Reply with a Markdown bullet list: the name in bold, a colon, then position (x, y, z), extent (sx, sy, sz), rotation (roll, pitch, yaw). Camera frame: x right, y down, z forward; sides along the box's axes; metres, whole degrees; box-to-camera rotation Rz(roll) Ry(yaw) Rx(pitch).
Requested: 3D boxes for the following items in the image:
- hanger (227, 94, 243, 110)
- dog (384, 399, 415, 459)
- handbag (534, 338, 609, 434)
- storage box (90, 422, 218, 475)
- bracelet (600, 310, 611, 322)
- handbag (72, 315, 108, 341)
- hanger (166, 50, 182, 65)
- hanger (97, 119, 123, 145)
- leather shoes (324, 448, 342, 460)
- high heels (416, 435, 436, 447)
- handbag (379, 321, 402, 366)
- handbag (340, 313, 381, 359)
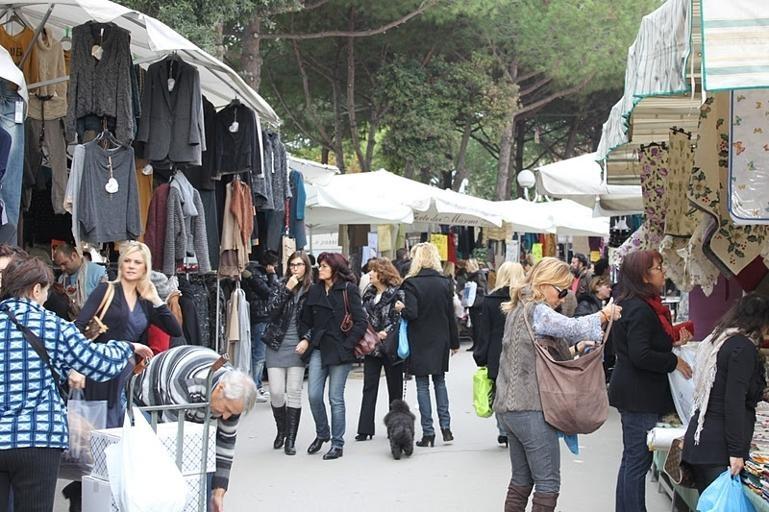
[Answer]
- **hanger**: position (-1.730, -1.783, 9.805), extent (0.195, 0.240, 0.030), rotation (7, 12, 21)
- **dog**: position (0.173, 2.087, 10.210), extent (0.346, 0.692, 0.350), rotation (0, 3, -5)
- **handbag**: position (1.573, 1.131, 7.255), extent (0.703, 1.000, 0.496), rotation (-1, -14, -4)
- **storage box**: position (-1.676, 1.433, 6.408), extent (0.486, 0.326, 0.663), rotation (3, -6, -45)
- **bracelet**: position (1.903, 0.522, 7.321), extent (0.026, 0.094, 0.081), rotation (-1, -12, 35)
- **handbag**: position (-2.717, 0.679, 7.865), extent (0.232, 0.237, 0.064), rotation (-41, -3, -6)
- **hanger**: position (-2.234, -2.094, 8.936), extent (0.100, 0.106, 0.108), rotation (2, 26, -9)
- **hanger**: position (-2.770, -1.253, 8.524), extent (0.013, 0.173, 0.250), rotation (1, 3, 23)
- **leather shoes**: position (-0.629, 2.380, 10.168), extent (0.204, 0.089, 0.106), rotation (4, -8, -43)
- **high heels**: position (0.527, 2.340, 10.739), extent (0.201, 0.154, 0.120), rotation (4, 1, 17)
- **handbag**: position (0.083, 1.099, 10.590), extent (0.135, 0.510, 0.295), rotation (5, -15, -9)
- **handbag**: position (-0.313, 0.992, 10.266), extent (0.257, 0.572, 0.464), rotation (-22, 7, 27)
